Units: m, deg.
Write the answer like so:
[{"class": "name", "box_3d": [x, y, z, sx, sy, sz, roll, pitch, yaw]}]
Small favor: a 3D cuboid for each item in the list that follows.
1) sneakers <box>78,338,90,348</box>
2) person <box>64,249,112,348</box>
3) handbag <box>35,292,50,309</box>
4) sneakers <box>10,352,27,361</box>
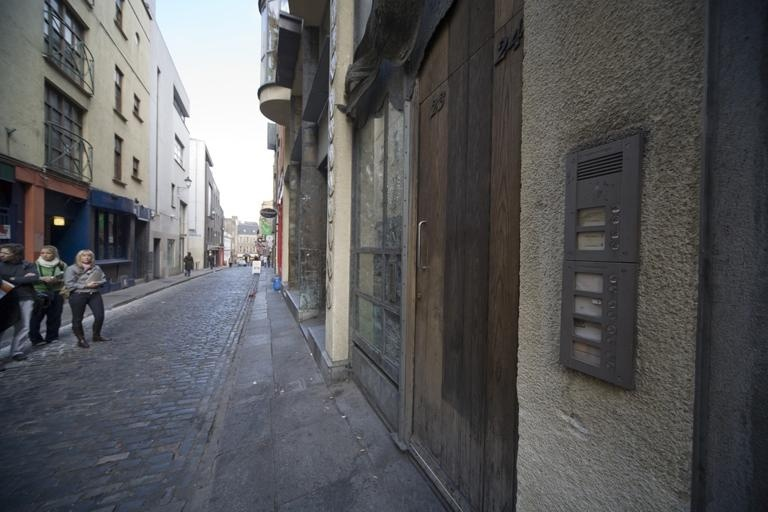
[{"class": "sneakers", "box_3d": [-5.624, 1.597, 9.970, 0.185, 0.181, 0.357, -1, 3, -31]}, {"class": "person", "box_3d": [-5.692, 0.785, 10.159, 0.663, 1.781, 0.761, -1, 3, -33]}, {"class": "handbag", "box_3d": [-6.106, 0.793, 9.519, 0.165, 0.257, 0.232, -1, 5, -27]}, {"class": "sneakers", "box_3d": [-6.195, 1.702, 9.056, 0.210, 0.127, 0.183, -2, 3, -40]}]
